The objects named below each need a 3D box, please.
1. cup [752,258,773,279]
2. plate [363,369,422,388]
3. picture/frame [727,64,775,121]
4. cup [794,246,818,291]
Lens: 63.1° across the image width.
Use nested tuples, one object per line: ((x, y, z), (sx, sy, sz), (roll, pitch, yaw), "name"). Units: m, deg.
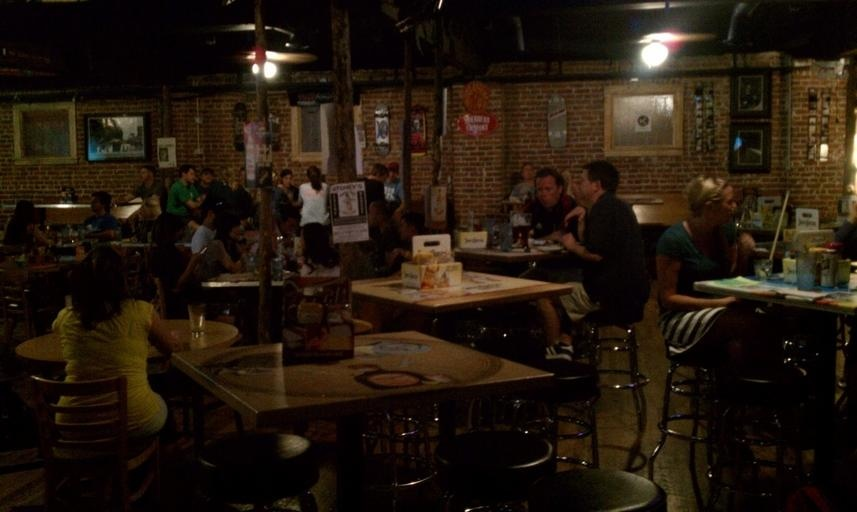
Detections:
((2.693, 0.085, 5.610), (0.164, 0.163, 0.159), (-1, -3, 0), "cup")
((-0.224, 0.737, 4.228), (0.383, 0.053, 0.224), (-2, 7, -5), "plate")
((5.809, -2.990, 12.545), (1.168, 1.213, 0.135), (0, 6, 1), "picture/frame")
((2.863, 0.089, 5.290), (0.140, 0.296, 0.203), (2, 9, 28), "cup")
